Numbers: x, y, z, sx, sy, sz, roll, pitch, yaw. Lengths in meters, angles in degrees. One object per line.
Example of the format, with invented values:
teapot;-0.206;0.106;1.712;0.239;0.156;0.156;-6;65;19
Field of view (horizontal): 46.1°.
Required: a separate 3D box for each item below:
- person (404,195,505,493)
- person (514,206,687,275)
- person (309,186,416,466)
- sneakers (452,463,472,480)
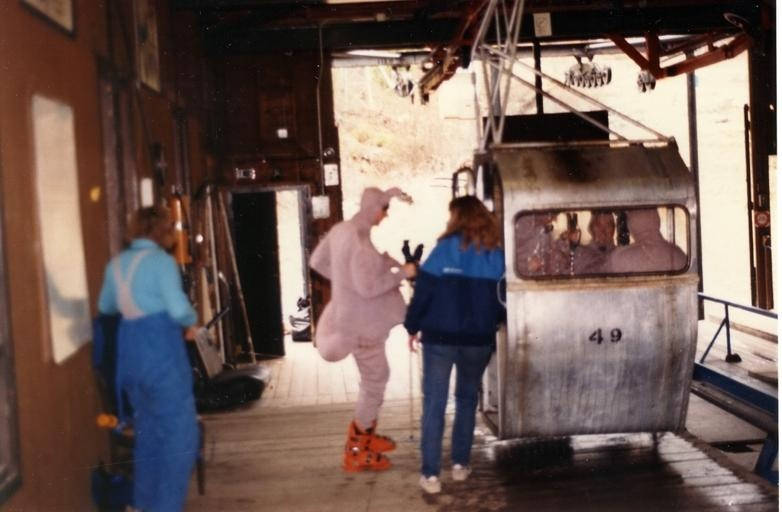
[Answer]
person;0.542;0.739;7.661;0.829;2.486;0.283;0;4;2
person;1.753;-0.127;7.845;1.454;0.594;0.396;0;4;-3
person;-0.240;0.645;7.831;0.846;2.464;0.257;-1;4;-6
sneakers;0.597;1.840;7.783;0.077;0.092;0.193;1;6;13
